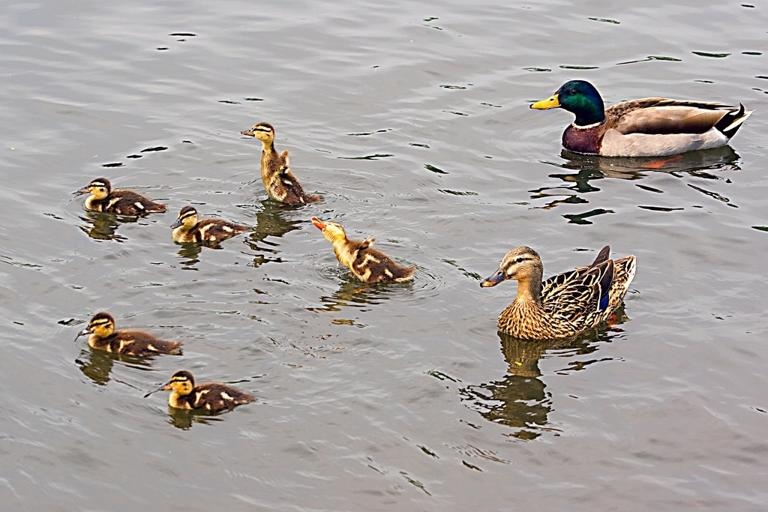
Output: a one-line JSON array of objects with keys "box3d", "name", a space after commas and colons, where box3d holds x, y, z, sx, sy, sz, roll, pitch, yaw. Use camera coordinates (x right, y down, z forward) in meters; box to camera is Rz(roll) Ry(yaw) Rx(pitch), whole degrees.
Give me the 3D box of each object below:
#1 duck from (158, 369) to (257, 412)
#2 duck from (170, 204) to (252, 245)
[{"box3d": [-2.387, 1.805, 10.803, 1.320, 0.362, 0.472, 9, -6, -37], "name": "duck"}, {"box3d": [-3.013, -0.505, 14.138, 0.744, 0.544, 1.577, 18, 16, 35], "name": "duck"}]
